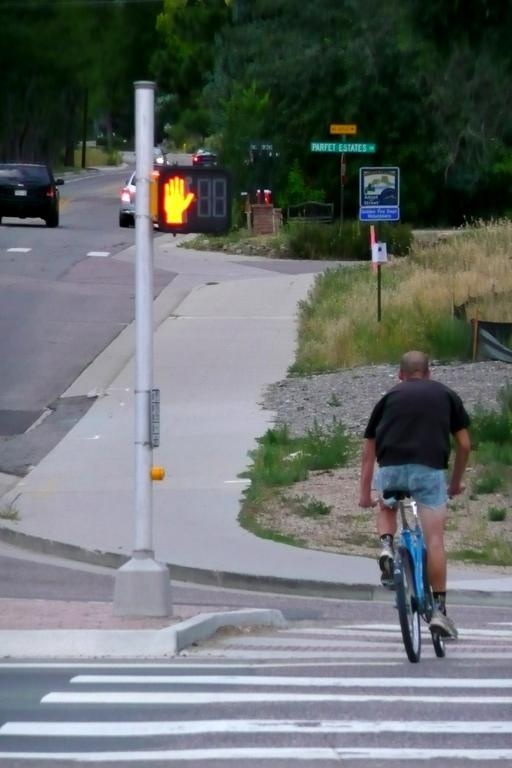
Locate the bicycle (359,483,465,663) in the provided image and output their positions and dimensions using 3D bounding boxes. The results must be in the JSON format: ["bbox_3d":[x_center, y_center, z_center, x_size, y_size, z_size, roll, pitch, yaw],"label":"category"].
[{"bbox_3d":[1.053,1.123,11.921,0.530,1.040,1.385,-7,-1,14],"label":"bicycle"}]

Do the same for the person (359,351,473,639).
[{"bbox_3d":[0.963,0.678,11.794,0.545,1.859,0.580,-10,-21,24],"label":"person"}]

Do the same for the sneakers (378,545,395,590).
[{"bbox_3d":[0.838,1.137,11.543,0.070,0.307,0.109,0,3,1],"label":"sneakers"}]
